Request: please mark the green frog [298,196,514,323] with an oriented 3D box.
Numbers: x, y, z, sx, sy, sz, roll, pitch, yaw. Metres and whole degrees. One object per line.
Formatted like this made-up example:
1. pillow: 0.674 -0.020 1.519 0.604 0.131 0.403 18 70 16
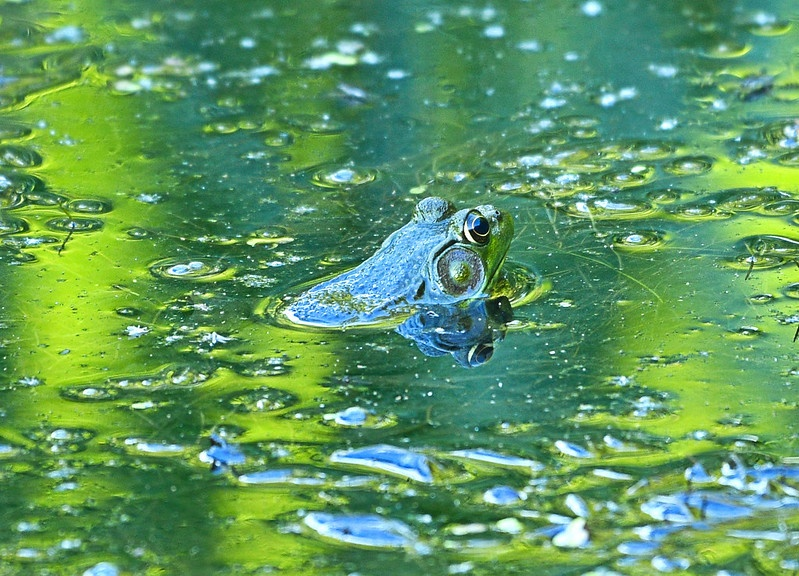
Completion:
1. green frog: 0.051 -0.084 3.238 0.946 0.395 0.214 -12 -61 -3
